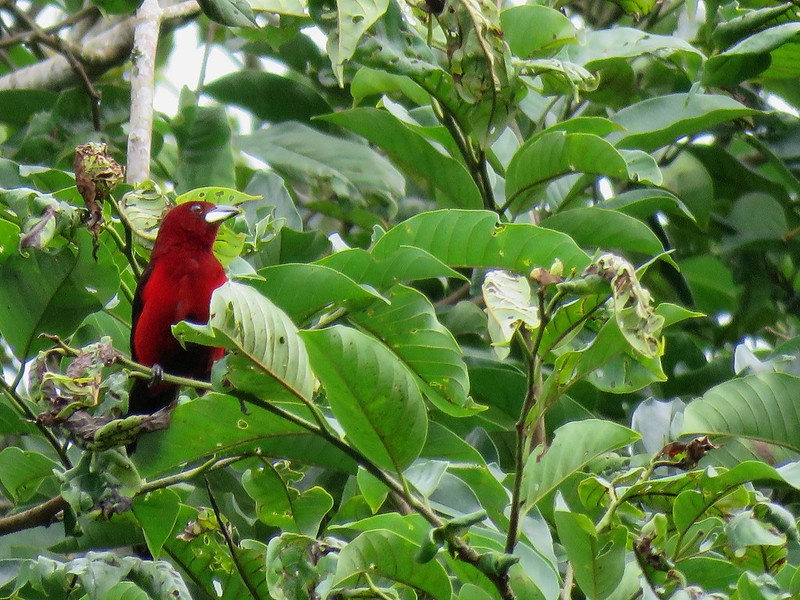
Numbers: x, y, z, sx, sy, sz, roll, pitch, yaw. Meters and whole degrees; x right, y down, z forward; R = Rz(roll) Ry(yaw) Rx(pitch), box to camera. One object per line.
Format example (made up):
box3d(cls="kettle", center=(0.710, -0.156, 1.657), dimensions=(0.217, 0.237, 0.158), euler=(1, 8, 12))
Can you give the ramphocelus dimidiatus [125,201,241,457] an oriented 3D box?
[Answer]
box3d(cls="ramphocelus dimidiatus", center=(-0.625, 0.082, 3.604), dimensions=(0.236, 0.571, 0.589), euler=(18, 35, -33))
